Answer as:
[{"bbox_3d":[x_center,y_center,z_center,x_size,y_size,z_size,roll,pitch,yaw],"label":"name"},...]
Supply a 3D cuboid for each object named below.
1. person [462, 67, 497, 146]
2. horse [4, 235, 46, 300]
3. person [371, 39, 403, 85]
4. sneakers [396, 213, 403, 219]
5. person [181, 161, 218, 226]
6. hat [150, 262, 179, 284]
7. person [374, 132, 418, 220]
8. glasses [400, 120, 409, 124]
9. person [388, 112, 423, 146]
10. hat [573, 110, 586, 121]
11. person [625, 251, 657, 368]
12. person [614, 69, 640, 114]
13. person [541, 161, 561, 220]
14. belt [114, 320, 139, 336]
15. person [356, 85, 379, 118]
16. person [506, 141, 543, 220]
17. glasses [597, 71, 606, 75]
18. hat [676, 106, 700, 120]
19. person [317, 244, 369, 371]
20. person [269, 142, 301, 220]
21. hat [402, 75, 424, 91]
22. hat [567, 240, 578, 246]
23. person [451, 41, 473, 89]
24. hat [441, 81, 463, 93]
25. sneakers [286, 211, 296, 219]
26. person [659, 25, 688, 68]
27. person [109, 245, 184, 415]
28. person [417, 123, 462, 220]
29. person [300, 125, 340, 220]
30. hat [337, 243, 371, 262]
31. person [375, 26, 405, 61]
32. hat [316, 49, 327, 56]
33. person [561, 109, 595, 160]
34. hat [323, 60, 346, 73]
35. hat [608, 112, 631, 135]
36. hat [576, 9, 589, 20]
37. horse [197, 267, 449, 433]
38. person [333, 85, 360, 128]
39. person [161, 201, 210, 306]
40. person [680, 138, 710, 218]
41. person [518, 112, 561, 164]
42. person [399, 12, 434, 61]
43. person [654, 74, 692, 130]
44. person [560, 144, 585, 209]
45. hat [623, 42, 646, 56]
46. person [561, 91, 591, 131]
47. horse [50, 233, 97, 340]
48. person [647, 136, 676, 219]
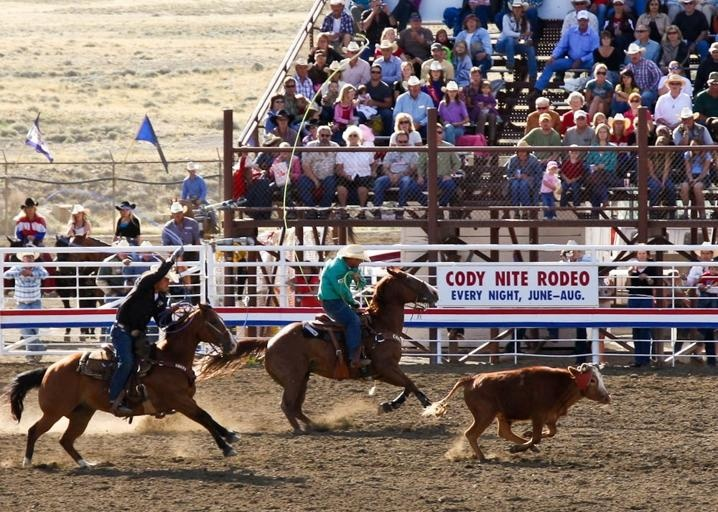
[{"bbox_3d":[2.860,-3.306,39.666,0.738,1.735,1.031,-14,15,-28],"label":"person"},{"bbox_3d":[-7.114,0.455,37.512,0.887,1.221,0.588,-2,7,-11],"label":"horse"},{"bbox_3d":[0.633,-4.406,40.449,0.814,0.986,0.624,-2,3,-6],"label":"person"},{"bbox_3d":[0.855,-0.838,37.413,0.127,0.114,0.123,1,5,-3],"label":"sneakers"},{"bbox_3d":[-3.694,-1.332,39.902,0.915,1.493,0.936,-2,17,8],"label":"person"},{"bbox_3d":[-3.594,0.430,32.650,0.582,0.221,0.447,10,27,-13],"label":"hat"},{"bbox_3d":[0.746,-1.715,37.367,0.919,1.818,0.701,-2,7,-3],"label":"person"},{"bbox_3d":[1.003,-2.838,37.596,0.122,0.061,0.018,-3,7,-13],"label":"glasses"},{"bbox_3d":[0.966,-2.599,37.810,0.707,0.853,0.500,-2,-1,2],"label":"person"},{"bbox_3d":[4.736,-2.992,37.733,0.338,0.178,0.472,0,-1,5],"label":"hat"},{"bbox_3d":[5.947,1.084,36.883,0.570,2.418,1.309,0,7,8],"label":"person"},{"bbox_3d":[6.015,-3.502,39.586,0.627,1.306,0.724,4,8,18],"label":"person"},{"bbox_3d":[4.036,-1.515,36.868,0.448,0.932,0.261,-1,7,1],"label":"person"},{"bbox_3d":[-4.316,1.348,32.556,0.407,0.133,0.108,26,22,-3],"label":"belt"},{"bbox_3d":[0.134,-3.366,39.288,0.538,0.692,0.270,-10,-18,-28],"label":"person"},{"bbox_3d":[3.458,-1.615,36.860,0.738,1.148,0.217,0,7,5],"label":"person"},{"bbox_3d":[5.479,-4.088,39.565,0.275,0.066,0.170,-4,7,-21],"label":"glasses"},{"bbox_3d":[7.038,-3.014,37.725,0.312,0.143,0.357,-11,0,8],"label":"hat"},{"bbox_3d":[-0.293,0.982,33.755,0.903,2.342,0.488,-1,7,-2],"label":"person"},{"bbox_3d":[-1.574,-1.532,37.383,0.444,1.522,0.636,-7,10,-41],"label":"person"},{"bbox_3d":[1.174,-3.819,39.199,0.396,0.182,0.453,-1,-9,-1],"label":"hat"},{"bbox_3d":[4.624,-0.264,38.079,0.203,0.096,0.270,3,-1,4],"label":"hat"},{"bbox_3d":[2.303,-4.171,40.592,0.566,1.539,0.500,3,-8,3],"label":"person"},{"bbox_3d":[2.058,-3.755,39.438,0.386,0.181,0.419,1,-7,0],"label":"hat"},{"bbox_3d":[-1.451,-0.861,37.666,0.166,0.099,0.167,0,0,0],"label":"sneakers"},{"bbox_3d":[7.266,-4.786,40.773,0.861,1.038,0.834,0,-3,-4],"label":"person"},{"bbox_3d":[-4.096,1.521,32.586,1.174,2.829,0.470,-2,7,-8],"label":"person"},{"bbox_3d":[1.765,-1.863,37.176,0.820,1.662,0.819,6,10,44],"label":"person"},{"bbox_3d":[-0.892,-1.767,37.377,0.789,1.870,0.676,-2,7,-3],"label":"person"},{"bbox_3d":[-0.120,-0.012,33.695,0.430,0.168,0.356,15,21,-16],"label":"hat"},{"bbox_3d":[0.693,-4.971,40.901,0.578,0.320,0.793,1,-4,-1],"label":"person"},{"bbox_3d":[-0.878,-4.658,40.546,0.235,0.089,0.309,0,-4,5],"label":"hat"},{"bbox_3d":[4.742,-2.532,37.686,0.777,1.012,0.595,2,-6,5],"label":"person"},{"bbox_3d":[-0.569,-4.297,40.251,0.391,0.139,0.420,0,-12,-3],"label":"hat"},{"bbox_3d":[5.648,-2.846,38.199,0.390,0.434,0.183,2,-8,7],"label":"hat"},{"bbox_3d":[5.246,-5.599,41.121,0.278,0.215,0.270,0,7,8],"label":"hat"},{"bbox_3d":[-0.852,1.950,34.229,5.106,2.883,1.066,-5,-4,8],"label":"horse"},{"bbox_3d":[-0.311,-3.286,38.923,0.538,0.938,0.396,-2,7,-4],"label":"person"},{"bbox_3d":[-3.859,0.124,38.340,0.967,2.409,0.780,-4,-3,-21],"label":"person"},{"bbox_3d":[7.031,-1.650,36.729,0.394,1.242,0.555,-7,9,-40],"label":"person"},{"bbox_3d":[3.962,-2.448,37.631,0.966,1.130,0.730,-13,-12,31],"label":"person"},{"bbox_3d":[1.308,-5.068,41.429,0.999,1.241,0.717,0,18,5],"label":"person"},{"bbox_3d":[6.988,-3.349,38.885,0.892,1.232,0.820,2,9,24],"label":"person"},{"bbox_3d":[4.474,-1.653,36.847,0.424,1.244,0.332,5,9,41],"label":"person"},{"bbox_3d":[6.329,-4.688,40.203,0.378,0.168,0.431,0,-12,12],"label":"hat"},{"bbox_3d":[4.773,-3.057,38.727,0.708,0.997,0.563,1,-4,2],"label":"person"},{"bbox_3d":[-6.293,0.516,39.144,0.495,1.258,1.994,-21,13,5],"label":"horse"},{"bbox_3d":[6.365,-1.588,36.877,0.554,1.170,0.258,0,7,10],"label":"person"}]
